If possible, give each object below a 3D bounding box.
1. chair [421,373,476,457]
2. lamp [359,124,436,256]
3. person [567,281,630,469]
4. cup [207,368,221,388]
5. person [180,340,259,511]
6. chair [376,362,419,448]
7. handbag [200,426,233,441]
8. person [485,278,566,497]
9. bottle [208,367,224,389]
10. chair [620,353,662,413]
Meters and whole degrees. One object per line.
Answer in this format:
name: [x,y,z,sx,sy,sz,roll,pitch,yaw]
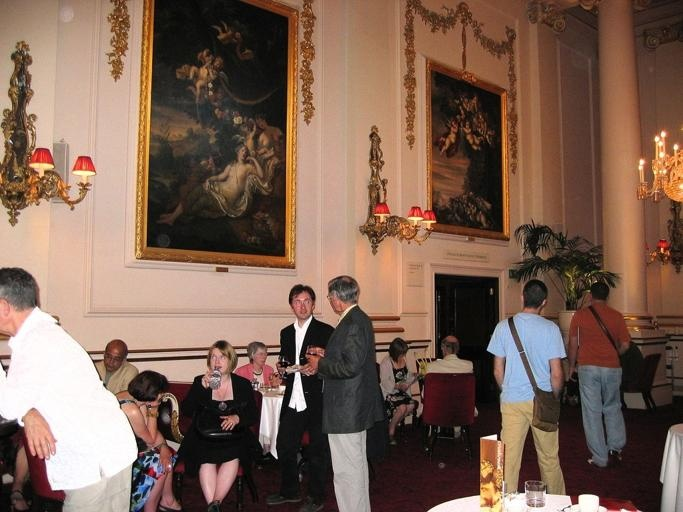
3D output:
chair: [1.301,1.777,6.820,0.638,1.124,0.699,-5,16,-6]
lamp: [0.950,-1.034,8.552,1.277,2.002,0.744,2,-4,-44]
person: [2.951,1.323,6.367,0.574,2.060,0.470,-1,-3,1]
cup: [-1.073,1.028,4.719,0.112,0.206,0.123,-1,-7,0]
person: [-1.037,1.388,4.761,0.489,1.302,0.569,-3,-4,41]
chair: [0.731,1.808,7.515,0.405,1.383,0.677,-2,-3,28]
handbag: [-1.022,1.462,4.617,0.247,0.083,0.028,0,-3,-13]
person: [1.540,1.134,4.593,0.597,1.932,0.564,0,8,9]
bottle: [-1.055,1.044,4.803,0.120,0.215,0.139,-1,-3,1]
chair: [5.054,2.085,9.805,0.631,1.018,0.686,-6,21,23]
